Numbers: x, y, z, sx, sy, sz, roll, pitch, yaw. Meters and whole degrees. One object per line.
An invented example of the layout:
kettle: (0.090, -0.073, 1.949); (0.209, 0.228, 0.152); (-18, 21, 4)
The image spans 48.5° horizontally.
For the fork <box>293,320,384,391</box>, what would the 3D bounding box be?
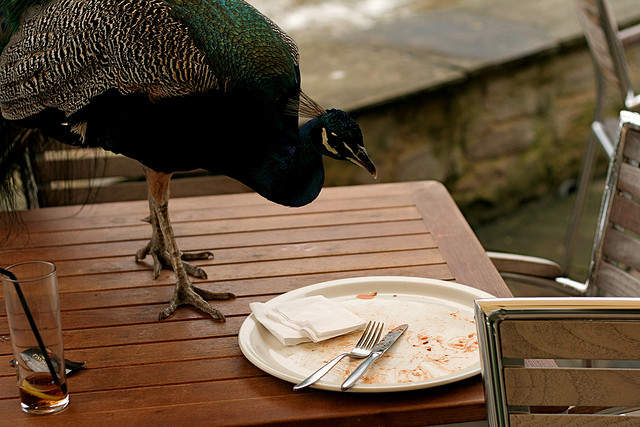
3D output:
fork: (0.050, 0.352, 1.734); (0.056, 0.050, 0.315); (-3, 19, 44)

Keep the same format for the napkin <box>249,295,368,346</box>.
napkin: (-0.038, 0.275, 1.865); (0.171, 0.035, 0.161); (-14, 27, -29)
